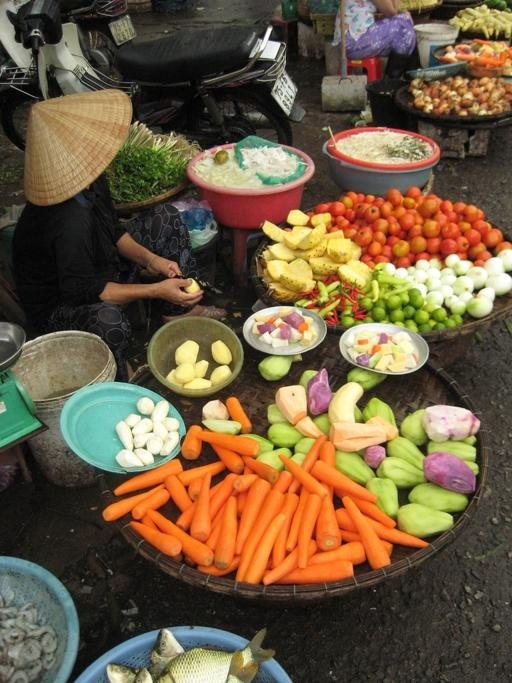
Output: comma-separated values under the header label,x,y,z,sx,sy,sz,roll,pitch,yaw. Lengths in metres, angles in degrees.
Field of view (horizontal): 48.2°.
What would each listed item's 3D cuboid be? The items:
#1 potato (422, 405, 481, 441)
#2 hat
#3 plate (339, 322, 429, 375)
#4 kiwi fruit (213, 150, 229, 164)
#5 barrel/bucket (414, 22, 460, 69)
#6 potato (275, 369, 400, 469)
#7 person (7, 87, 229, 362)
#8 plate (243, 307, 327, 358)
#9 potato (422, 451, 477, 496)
label,x,y,z,sx,sy,sz,roll,pitch,yaw
potato,0.791,0.313,2.305,0.187,0.087,0.143,-6,31,-5
hat,-0.780,-0.878,2.646,0.565,0.202,0.520,14,76,47
plate,0.584,0.031,2.690,0.385,0.098,0.367,-20,38,-23
kiwi fruit,-0.250,-1.331,4.195,0.084,0.082,0.101,-5,48,32
barrel/bucket,2.178,-3.502,6.913,0.402,0.356,0.370,0,31,0
potato,0.327,0.305,2.367,0.452,0.122,0.296,25,34,34
person,-0.851,-0.523,3.219,1.065,1.505,1.129,7,42,6
plate,0.164,-0.043,2.781,0.327,0.080,0.297,-12,38,-17
potato,0.744,0.488,2.141,0.211,0.116,0.126,24,60,34
